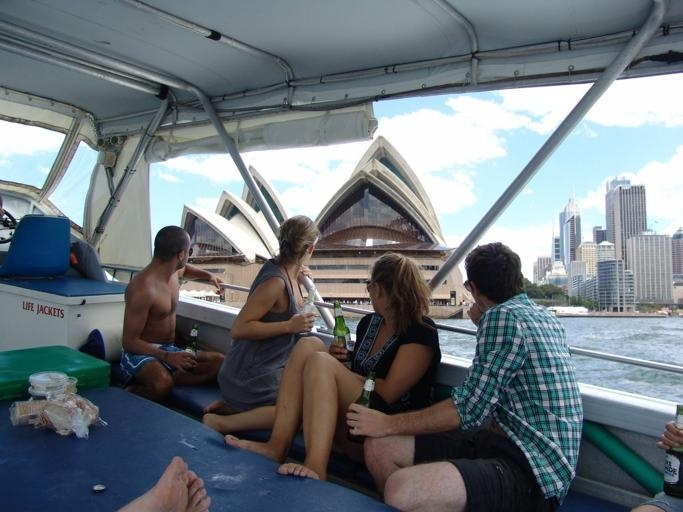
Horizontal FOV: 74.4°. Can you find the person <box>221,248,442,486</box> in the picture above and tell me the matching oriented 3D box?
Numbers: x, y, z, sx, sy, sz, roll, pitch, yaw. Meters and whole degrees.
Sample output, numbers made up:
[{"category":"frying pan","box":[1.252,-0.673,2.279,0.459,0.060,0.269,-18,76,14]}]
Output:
[{"category":"person","box":[0.009,0.539,2.411,1.028,1.183,0.694,14,-12,-37]}]

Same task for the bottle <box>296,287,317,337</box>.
[{"category":"bottle","box":[-0.239,0.364,2.979,0.117,0.123,0.369,7,-32,6]}]

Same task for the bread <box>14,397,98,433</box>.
[{"category":"bread","box":[-1.290,0.675,2.033,0.232,0.125,0.191,9,-6,-37]}]

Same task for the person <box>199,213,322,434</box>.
[{"category":"person","box":[-0.447,0.511,2.926,0.858,1.432,0.618,0,7,-17]}]
